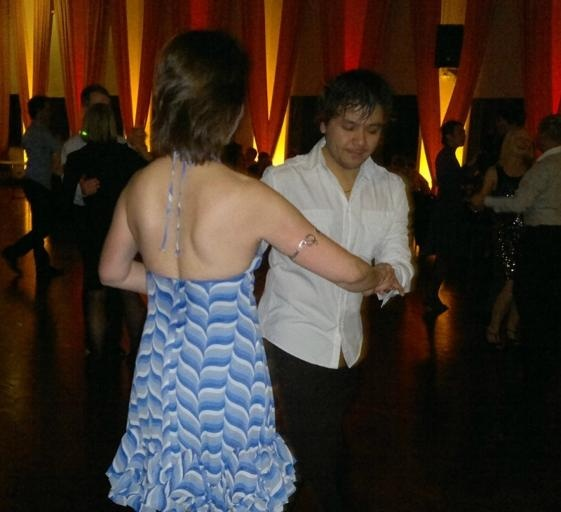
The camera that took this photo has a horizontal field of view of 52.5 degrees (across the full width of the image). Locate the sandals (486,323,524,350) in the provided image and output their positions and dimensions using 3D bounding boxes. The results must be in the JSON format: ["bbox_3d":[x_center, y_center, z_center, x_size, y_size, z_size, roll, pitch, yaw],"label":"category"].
[{"bbox_3d":[1.731,0.592,4.380,0.251,0.132,0.495,9,15,31],"label":"sandals"}]
